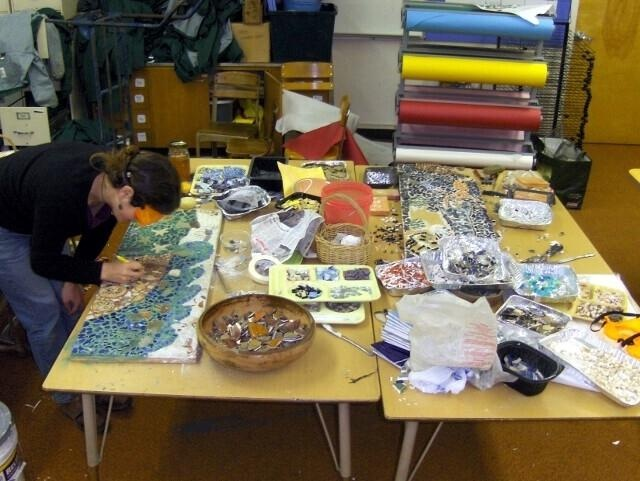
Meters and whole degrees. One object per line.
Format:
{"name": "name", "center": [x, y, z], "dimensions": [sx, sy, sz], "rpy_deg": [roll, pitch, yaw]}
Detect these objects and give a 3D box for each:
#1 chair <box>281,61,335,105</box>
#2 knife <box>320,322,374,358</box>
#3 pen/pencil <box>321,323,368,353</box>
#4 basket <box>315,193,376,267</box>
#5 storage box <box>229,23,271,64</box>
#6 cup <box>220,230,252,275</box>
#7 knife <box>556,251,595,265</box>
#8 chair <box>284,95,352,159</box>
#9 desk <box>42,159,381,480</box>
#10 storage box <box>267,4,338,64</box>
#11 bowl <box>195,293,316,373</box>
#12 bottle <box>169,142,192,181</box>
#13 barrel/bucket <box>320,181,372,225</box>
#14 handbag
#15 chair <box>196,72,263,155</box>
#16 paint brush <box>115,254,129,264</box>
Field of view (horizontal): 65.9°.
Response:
{"name": "chair", "center": [-0.115, -1.502, 4.689], "dimensions": [0.448, 0.574, 0.389], "rpy_deg": [-1, 52, 0]}
{"name": "knife", "center": [0.095, 0.369, 1.817], "dimensions": [0.191, 0.026, 0.031], "rpy_deg": [25, 61, 28]}
{"name": "pen/pencil", "center": [0.087, 0.363, 1.825], "dimensions": [0.182, 0.022, 0.029], "rpy_deg": [23, 6, 15]}
{"name": "basket", "center": [0.091, -0.037, 2.157], "dimensions": [0.271, 0.242, 0.182], "rpy_deg": [3, 28, 1]}
{"name": "storage box", "center": [-0.623, -2.002, 5.104], "dimensions": [0.511, 0.452, 0.345], "rpy_deg": [0, 38, 1]}
{"name": "cup", "center": [-0.380, 0.051, 2.199], "dimensions": [0.144, 0.075, 0.163], "rpy_deg": [-4, 52, 4]}
{"name": "knife", "center": [1.168, 0.081, 2.258], "dimensions": [0.160, 0.022, 0.020], "rpy_deg": [-11, 50, -3]}
{"name": "chair", "center": [-0.025, -0.851, 3.774], "dimensions": [0.503, 0.418, 0.462], "rpy_deg": [-2, 35, -10]}
{"name": "desk", "center": [-0.308, 0.244, 1.662], "dimensions": [0.842, 0.460, 0.937], "rpy_deg": [3, 48, 1]}
{"name": "storage box", "center": [-0.187, -2.103, 5.090], "dimensions": [0.823, 0.468, 0.521], "rpy_deg": [0, 38, 1]}
{"name": "bowl", "center": [-0.208, 0.339, 1.754], "dimensions": [0.400, 0.114, 0.373], "rpy_deg": [7, 12, -2]}
{"name": "bottle", "center": [-0.818, -0.443, 2.802], "dimensions": [0.139, 0.204, 0.128], "rpy_deg": [6, 20, -2]}
{"name": "barrel/bucket", "center": [0.103, -0.164, 2.340], "dimensions": [0.251, 0.233, 0.229], "rpy_deg": [-1, 32, 1]}
{"name": "handbag", "center": [1.908, -0.530, 3.902], "dimensions": [0.421, 0.502, 0.752], "rpy_deg": [-3, 34, 13]}
{"name": "chair", "center": [-0.878, -1.220, 4.928], "dimensions": [0.682, 0.865, 1.270], "rpy_deg": [-4, 25, -10]}
{"name": "paint brush", "center": [-0.852, 0.079, 2.121], "dimensions": [0.029, 0.041, 0.133], "rpy_deg": [-55, 26, -13]}
